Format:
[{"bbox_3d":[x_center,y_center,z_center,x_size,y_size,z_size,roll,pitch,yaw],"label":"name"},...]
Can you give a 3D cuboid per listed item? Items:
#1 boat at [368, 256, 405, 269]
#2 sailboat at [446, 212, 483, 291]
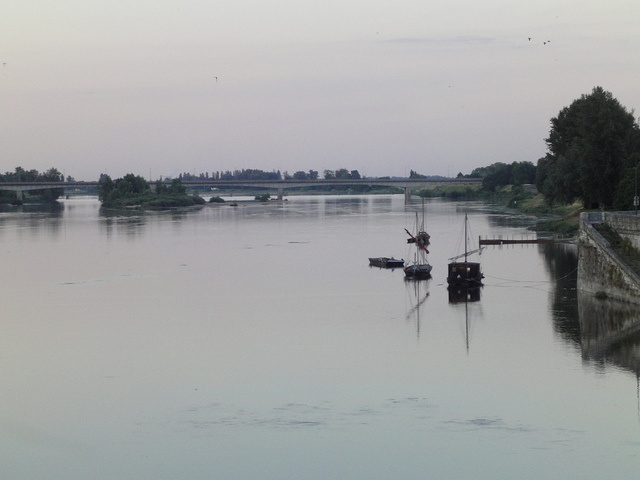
[{"bbox_3d":[4.880,1.700,79.423,2.683,0.707,2.601,-1,3,25],"label":"boat"},{"bbox_3d":[9.794,0.646,71.681,1.671,4.820,4.555,-2,-1,25],"label":"sailboat"}]
